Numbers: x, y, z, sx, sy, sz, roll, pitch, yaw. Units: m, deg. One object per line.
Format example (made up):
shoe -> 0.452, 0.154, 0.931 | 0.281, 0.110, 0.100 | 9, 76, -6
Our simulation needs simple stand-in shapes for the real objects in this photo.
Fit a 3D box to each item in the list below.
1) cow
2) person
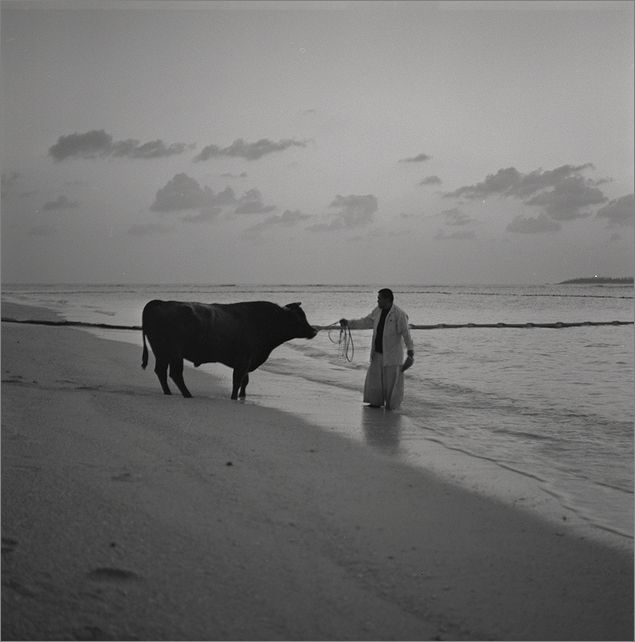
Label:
cow -> -1.305, 0.385, 9.774 | 2.348, 1.365, 0.632 | 1, 3, -39
person -> 1.009, 0.412, 9.972 | 1.021, 1.731, 0.367 | 5, 4, 43
